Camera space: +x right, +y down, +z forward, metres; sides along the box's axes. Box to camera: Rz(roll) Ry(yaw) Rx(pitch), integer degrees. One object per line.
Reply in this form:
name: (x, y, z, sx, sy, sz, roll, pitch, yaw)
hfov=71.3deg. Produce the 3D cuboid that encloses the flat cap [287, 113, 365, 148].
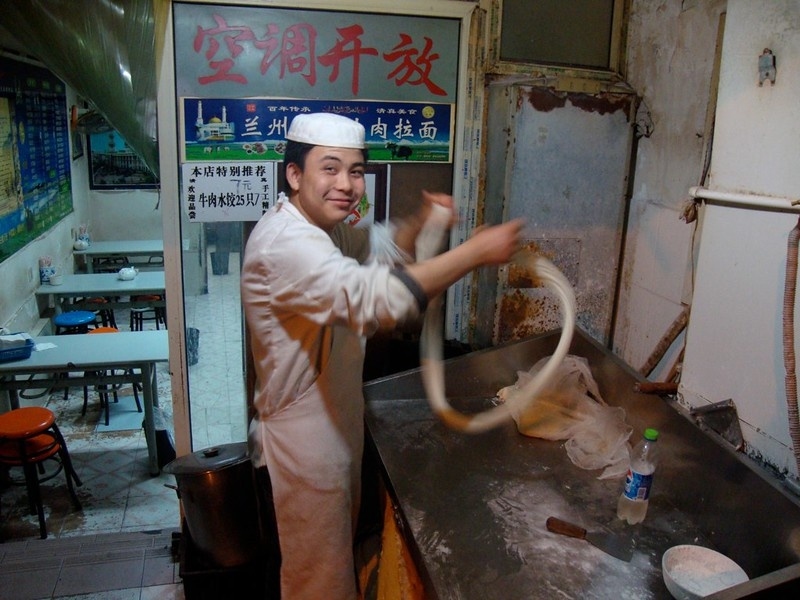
flat cap: (-0.281, -0.637, 2.105, 0.294, 0.138, 0.132, -2, 14, -2)

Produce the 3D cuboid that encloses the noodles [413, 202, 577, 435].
noodles: (0.397, 0.280, 2.827, 0.580, 1.388, 0.640, -1, 22, -16)

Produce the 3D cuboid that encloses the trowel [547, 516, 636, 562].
trowel: (0.754, 0.937, 2.228, 0.331, 0.070, 0.130, 5, 15, 23)

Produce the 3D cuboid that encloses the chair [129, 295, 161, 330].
chair: (-3.177, 0.153, 6.964, 0.319, 0.376, 0.299, -10, 18, -44)

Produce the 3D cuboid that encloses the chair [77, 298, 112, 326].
chair: (-3.539, 0.126, 6.481, 0.254, 0.385, 0.258, 9, 13, 38)
